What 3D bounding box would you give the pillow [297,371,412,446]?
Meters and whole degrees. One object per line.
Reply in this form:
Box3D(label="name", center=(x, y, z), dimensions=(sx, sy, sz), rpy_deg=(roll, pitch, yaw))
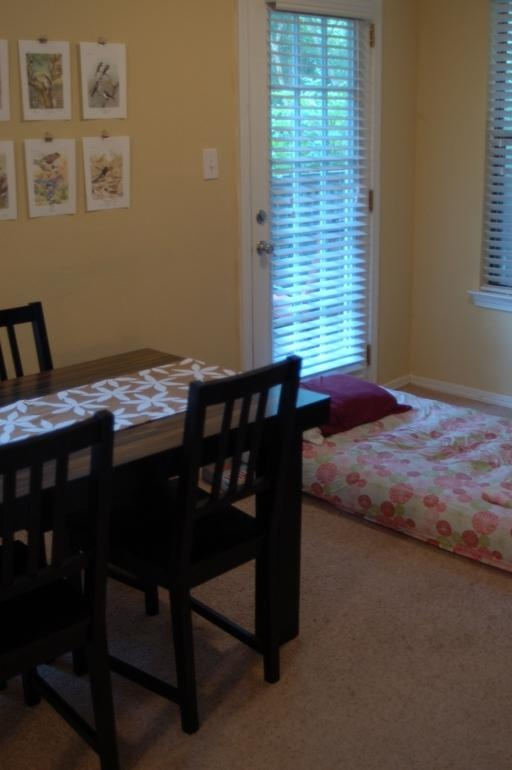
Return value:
Box3D(label="pillow", center=(0.477, 0.071, 2.852), dimensions=(0.346, 0.118, 0.313), rpy_deg=(-18, 25, -39))
